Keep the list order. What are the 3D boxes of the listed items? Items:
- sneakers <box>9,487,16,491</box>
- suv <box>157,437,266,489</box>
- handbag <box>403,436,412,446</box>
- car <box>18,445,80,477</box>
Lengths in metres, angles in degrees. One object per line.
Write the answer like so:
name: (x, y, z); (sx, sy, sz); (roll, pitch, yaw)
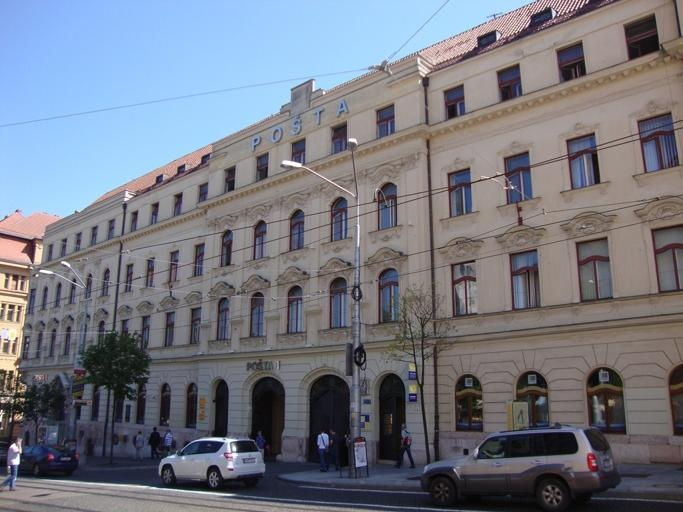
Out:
sneakers: (-13.904, 9.751, 25.907); (0.148, 0.114, 0.130); (4, -3, 32)
suv: (-5.744, 8.908, 26.756); (4.568, 1.989, 1.834); (-11, -21, 29)
handbag: (3.223, 8.880, 29.768); (0.308, 0.429, 0.762); (-14, -21, 32)
car: (-15.468, 10.612, 32.241); (2.848, 1.538, 1.265); (-9, -20, 23)
